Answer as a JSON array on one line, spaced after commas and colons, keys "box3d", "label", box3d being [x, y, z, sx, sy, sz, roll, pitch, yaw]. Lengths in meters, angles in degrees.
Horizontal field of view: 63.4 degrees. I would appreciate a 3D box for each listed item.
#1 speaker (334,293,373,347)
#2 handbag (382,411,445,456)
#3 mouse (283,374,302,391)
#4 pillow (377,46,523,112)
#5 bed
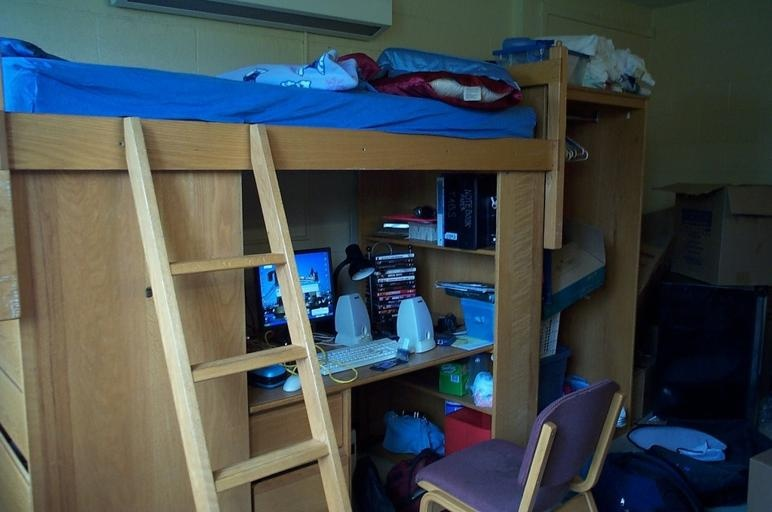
[{"box3d": [-0.184, 0.364, 3.436, 0.188, 0.311, 0.243, 1, 8, 32], "label": "speaker"}, {"box3d": [0.171, 1.103, 3.848, 0.299, 0.110, 0.237, 19, 22, 29], "label": "handbag"}, {"box3d": [-0.430, 0.582, 2.853, 0.077, 0.061, 0.092, -6, 10, -8], "label": "mouse"}, {"box3d": [0.303, -0.842, 2.987, 0.433, 0.114, 0.422, -2, 18, -27], "label": "pillow"}, {"box3d": [-0.425, -0.650, 2.681, 2.078, 0.431, 0.192, -10, 11, -27], "label": "bed"}]
